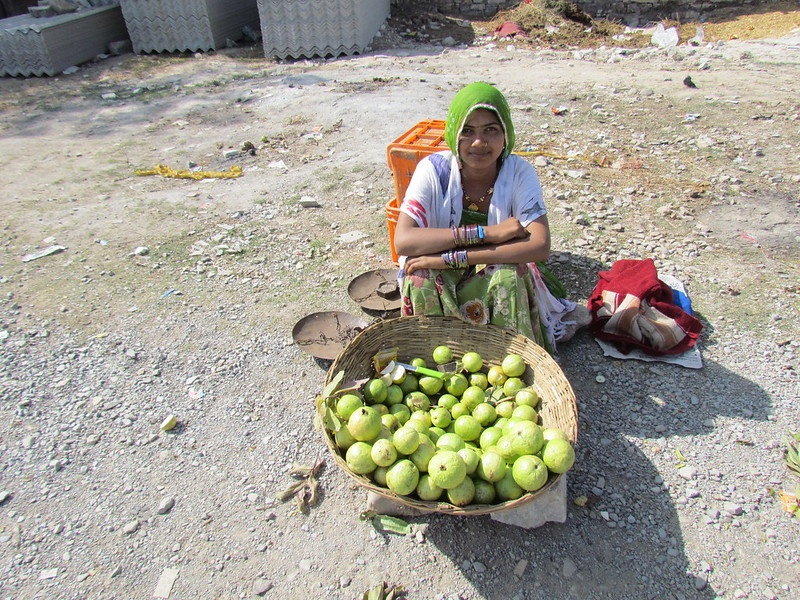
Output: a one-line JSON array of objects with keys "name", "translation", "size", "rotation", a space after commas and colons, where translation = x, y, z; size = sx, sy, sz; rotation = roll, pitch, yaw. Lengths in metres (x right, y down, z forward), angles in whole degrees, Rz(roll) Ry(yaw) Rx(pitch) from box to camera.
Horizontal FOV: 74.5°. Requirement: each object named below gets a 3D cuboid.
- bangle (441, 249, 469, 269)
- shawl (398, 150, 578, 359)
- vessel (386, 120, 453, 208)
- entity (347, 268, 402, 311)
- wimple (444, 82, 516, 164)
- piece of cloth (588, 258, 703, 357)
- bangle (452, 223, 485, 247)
[{"name": "bangle", "translation": [0.390, -0.262, 3.656], "size": [0.187, 0.160, 0.076], "rotation": [-3, 36, 2]}, {"name": "shawl", "translation": [0.654, 0.055, 4.288], "size": [1.217, 1.418, 0.602], "rotation": [-5, 71, 1]}, {"name": "vessel", "translation": [0.198, -1.248, 4.810], "size": [0.620, 0.390, 0.832], "rotation": [7, 33, 18]}, {"name": "entity", "translation": [-0.232, -0.070, 4.711], "size": [0.458, 0.146, 0.555], "rotation": [-5, 33, -2]}, {"name": "wimple", "translation": [0.547, -1.268, 3.705], "size": [0.469, 0.526, 0.546], "rotation": [4, 25, 2]}, {"name": "piece of cloth", "translation": [1.927, 0.124, 4.156], "size": [0.853, 0.294, 0.833], "rotation": [18, 49, 35]}, {"name": "bangle", "translation": [0.491, -0.428, 3.625], "size": [0.188, 0.129, 0.084], "rotation": [-3, 33, 5]}]
